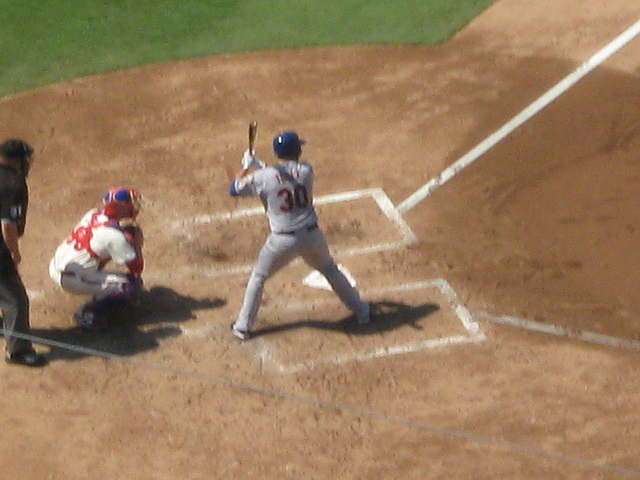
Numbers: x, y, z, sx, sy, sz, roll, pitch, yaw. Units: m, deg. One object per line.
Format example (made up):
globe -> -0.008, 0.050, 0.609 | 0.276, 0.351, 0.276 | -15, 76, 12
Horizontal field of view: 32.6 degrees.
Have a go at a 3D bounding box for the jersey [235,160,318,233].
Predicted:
jersey -> -0.379, -0.557, 13.788 | 1.233, 0.669, 0.977 | -10, 110, -18

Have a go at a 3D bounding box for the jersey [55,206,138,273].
jersey -> -2.919, 0.158, 14.439 | 1.093, 1.113, 0.643 | -9, 67, 1
